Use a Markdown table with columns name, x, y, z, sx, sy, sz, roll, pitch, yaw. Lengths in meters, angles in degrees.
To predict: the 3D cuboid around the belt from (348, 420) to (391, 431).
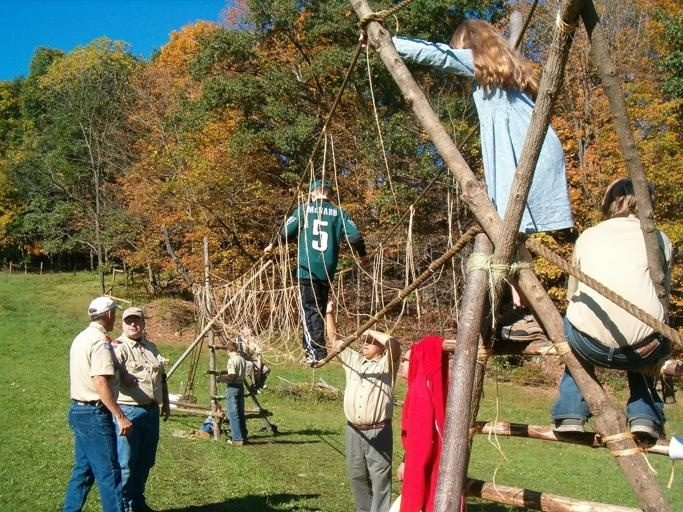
| name | x | y | z | sx | sy | sz | roll | pitch | yaw |
| --- | --- | --- | --- | --- | --- | --- | --- | --- | --- |
| belt | 0.339 | 3.098 | 15.901 | 0.726 | 0.188 | 0.208 | 2 | -6 | -6 |

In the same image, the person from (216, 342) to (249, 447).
| name | x | y | z | sx | sy | sz | roll | pitch | yaw |
| --- | --- | --- | --- | --- | --- | --- | --- | --- | --- |
| person | -2.695 | 3.296 | 20.885 | 0.674 | 2.492 | 1.152 | 2 | -5 | -7 |

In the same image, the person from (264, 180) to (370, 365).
| name | x | y | z | sx | sy | sz | roll | pitch | yaw |
| --- | --- | --- | --- | --- | --- | --- | --- | --- | --- |
| person | -0.559 | 0.269 | 15.789 | 1.372 | 3.361 | 0.510 | 2 | -5 | -6 |

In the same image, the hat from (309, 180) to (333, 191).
| name | x | y | z | sx | sy | sz | roll | pitch | yaw |
| --- | --- | --- | --- | --- | --- | --- | --- | --- | --- |
| hat | -0.495 | -1.322 | 15.950 | 0.306 | 0.162 | 0.223 | -7 | 0 | -18 |

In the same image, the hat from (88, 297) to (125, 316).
| name | x | y | z | sx | sy | sz | roll | pitch | yaw |
| --- | --- | --- | --- | --- | --- | --- | --- | --- | --- |
| hat | -4.329 | 0.921 | 15.961 | 0.332 | 0.279 | 0.487 | 0 | 4 | 38 |
